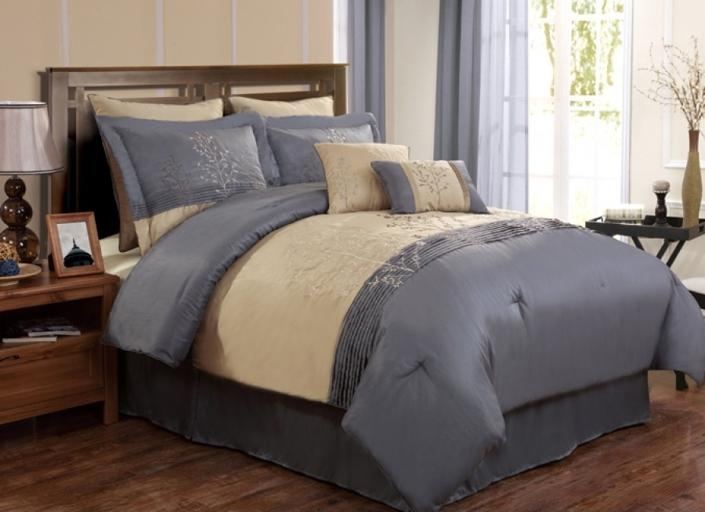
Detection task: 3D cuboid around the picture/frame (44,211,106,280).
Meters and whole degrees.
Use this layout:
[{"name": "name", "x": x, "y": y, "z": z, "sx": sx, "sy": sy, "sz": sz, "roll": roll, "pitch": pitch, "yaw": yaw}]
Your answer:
[{"name": "picture/frame", "x": -1.280, "y": -0.039, "z": 2.857, "sx": 0.285, "sy": 0.378, "sz": 0.208, "roll": -10, "pitch": 3, "yaw": -33}]

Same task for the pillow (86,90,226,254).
[{"name": "pillow", "x": -1.113, "y": -0.435, "z": 3.298, "sx": 0.248, "sy": 0.822, "sz": 0.850, "roll": -17, "pitch": -10, "yaw": 33}]

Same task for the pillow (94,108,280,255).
[{"name": "pillow", "x": -0.835, "y": -0.360, "z": 3.055, "sx": 0.724, "sy": 0.544, "sz": 0.165, "roll": -10, "pitch": -12, "yaw": -37}]

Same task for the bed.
[{"name": "bed", "x": 0.217, "y": 0.124, "z": 2.595, "sx": 1.579, "sy": 1.075, "sz": 1.546, "roll": 8, "pitch": 15, "yaw": 38}]
